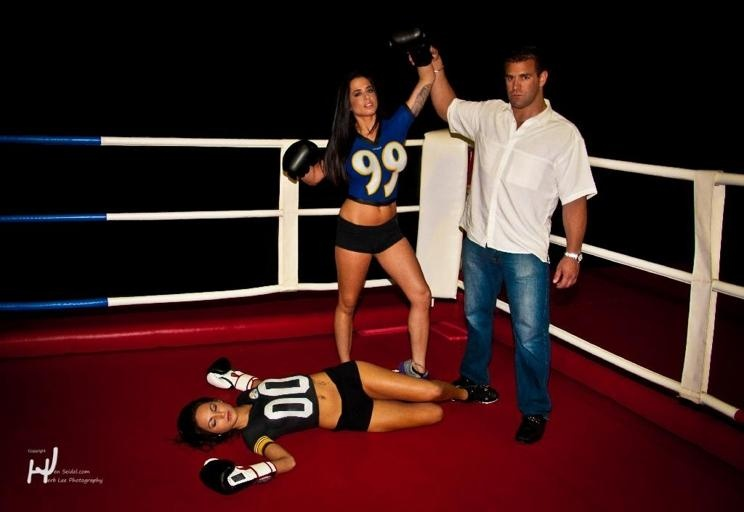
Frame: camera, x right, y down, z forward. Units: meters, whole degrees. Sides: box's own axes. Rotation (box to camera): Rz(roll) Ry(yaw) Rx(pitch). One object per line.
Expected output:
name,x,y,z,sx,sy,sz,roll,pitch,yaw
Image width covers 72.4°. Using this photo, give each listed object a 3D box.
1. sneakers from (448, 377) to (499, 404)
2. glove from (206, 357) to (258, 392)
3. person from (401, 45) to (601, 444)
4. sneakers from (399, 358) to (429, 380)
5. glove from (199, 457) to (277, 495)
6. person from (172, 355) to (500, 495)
sneakers,0.668,0.880,3.329,0.294,0.139,0.139,-1,24,4
glove,-0.931,0.773,3.347,0.259,0.107,0.216,7,37,6
person,0.821,-0.094,3.157,0.510,2.203,0.925,-10,17,-30
sneakers,0.278,0.724,3.380,0.180,0.090,0.105,15,1,4
glove,-0.705,1.128,2.656,0.252,0.120,0.205,-4,20,-38
person,-0.176,0.933,3.060,1.862,0.470,1.197,-1,19,-10
